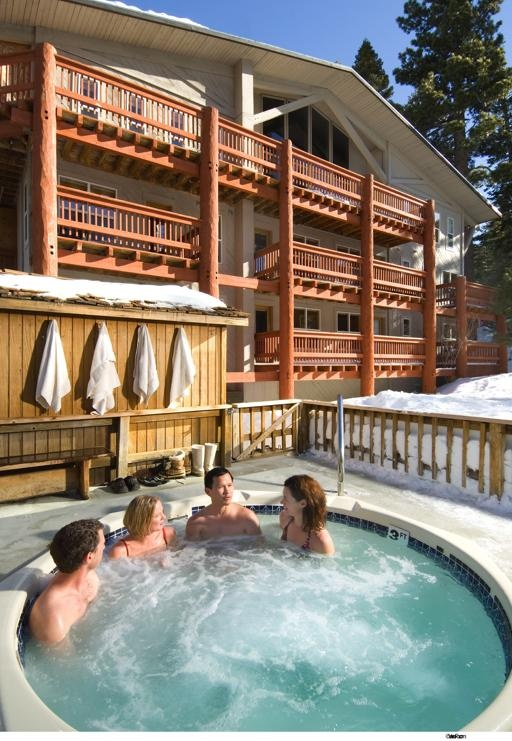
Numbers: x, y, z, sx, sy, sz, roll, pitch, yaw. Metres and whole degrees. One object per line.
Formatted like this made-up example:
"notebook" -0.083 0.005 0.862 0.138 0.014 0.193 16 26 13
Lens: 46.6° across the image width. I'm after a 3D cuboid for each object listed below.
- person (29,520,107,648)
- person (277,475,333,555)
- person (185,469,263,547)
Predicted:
"person" -1.424 1.577 4.555 0.363 0.815 0.748 4 11 33
"person" 0.477 1.446 5.789 0.375 0.758 0.719 -1 7 -20
"person" -0.342 1.361 6.198 0.725 0.790 0.379 0 9 -5
